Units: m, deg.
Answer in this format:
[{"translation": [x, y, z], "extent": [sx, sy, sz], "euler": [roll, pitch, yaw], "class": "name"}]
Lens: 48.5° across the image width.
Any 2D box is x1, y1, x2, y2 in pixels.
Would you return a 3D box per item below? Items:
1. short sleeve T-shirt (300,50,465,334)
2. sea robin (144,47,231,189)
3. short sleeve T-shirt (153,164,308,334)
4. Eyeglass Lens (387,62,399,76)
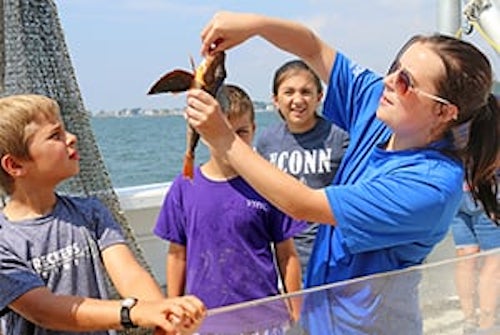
[{"translation": [0.727, 0.050, 3.230], "extent": [0.993, 1.516, 1.089], "euler": [-6, 7, 7], "class": "short sleeve T-shirt"}, {"translation": [-0.268, -0.292, 3.365], "extent": [0.611, 0.719, 0.361], "euler": [10, -7, 25], "class": "sea robin"}, {"translation": [-0.137, 0.498, 3.819], "extent": [1.165, 0.951, 0.429], "euler": [0, 4, 19], "class": "short sleeve T-shirt"}, {"translation": [0.876, -0.600, 3.395], "extent": [0.084, 0.077, 0.024], "euler": [16, -37, -7], "class": "Eyeglass Lens"}]
